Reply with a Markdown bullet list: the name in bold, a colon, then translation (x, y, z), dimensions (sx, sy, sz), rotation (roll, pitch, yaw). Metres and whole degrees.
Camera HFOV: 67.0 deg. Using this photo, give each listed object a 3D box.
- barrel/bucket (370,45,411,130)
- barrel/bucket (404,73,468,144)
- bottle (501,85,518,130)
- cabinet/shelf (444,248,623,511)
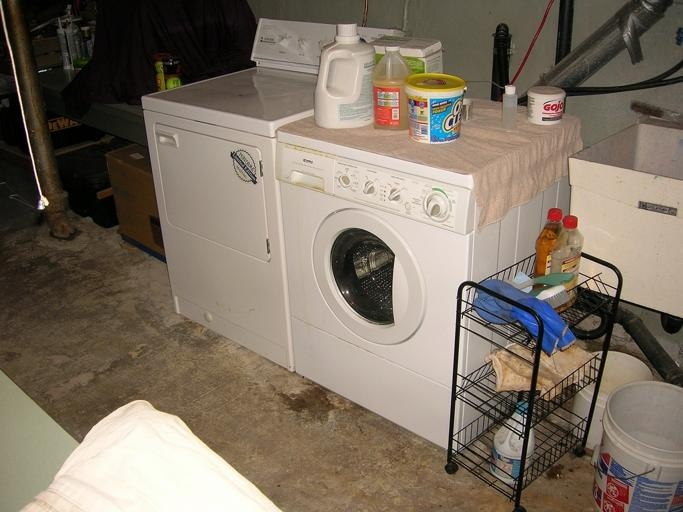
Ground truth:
- **barrel/bucket**: translation (0.186, -0.643, 1.963), dimensions (0.135, 0.270, 0.157), rotation (1, 36, 2)
- **barrel/bucket**: translation (0.326, -0.533, 1.935), dimensions (0.221, 0.194, 0.245), rotation (-25, 36, -25)
- **bottle**: translation (0.620, -0.554, 1.912), dimensions (0.064, 0.149, 0.039), rotation (19, 40, 25)
- **cabinet/shelf**: translation (0.684, 0.448, 1.874), dimensions (0.570, 0.779, 0.399), rotation (-30, 40, -34)
